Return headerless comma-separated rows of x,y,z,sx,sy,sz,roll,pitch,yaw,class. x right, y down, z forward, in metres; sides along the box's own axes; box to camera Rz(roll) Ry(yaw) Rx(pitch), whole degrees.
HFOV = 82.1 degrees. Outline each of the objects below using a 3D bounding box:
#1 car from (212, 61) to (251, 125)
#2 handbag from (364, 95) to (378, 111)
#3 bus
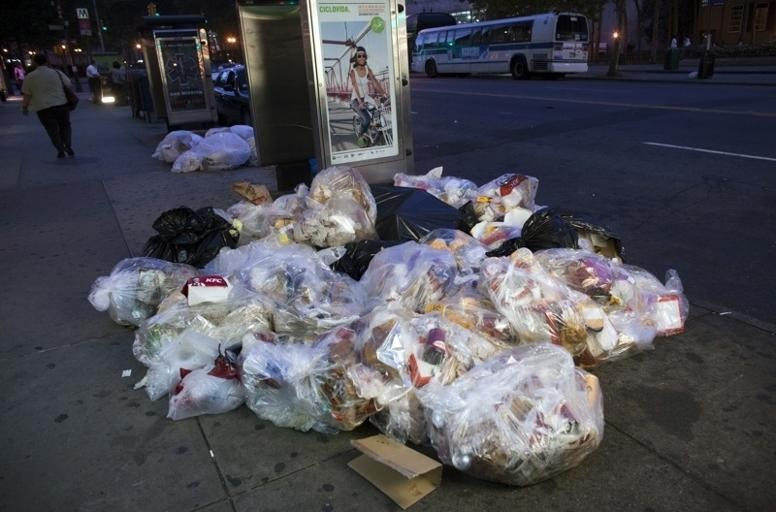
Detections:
-4.584,-4.613,12.977,0.911,1.628,3.393,-12,25,-18,car
-0.229,-1.937,5.620,0.122,0.166,0.061,-23,-4,-10,handbag
5.716,-12.190,26.393,2.627,3.034,11.748,-19,28,-31,bus
